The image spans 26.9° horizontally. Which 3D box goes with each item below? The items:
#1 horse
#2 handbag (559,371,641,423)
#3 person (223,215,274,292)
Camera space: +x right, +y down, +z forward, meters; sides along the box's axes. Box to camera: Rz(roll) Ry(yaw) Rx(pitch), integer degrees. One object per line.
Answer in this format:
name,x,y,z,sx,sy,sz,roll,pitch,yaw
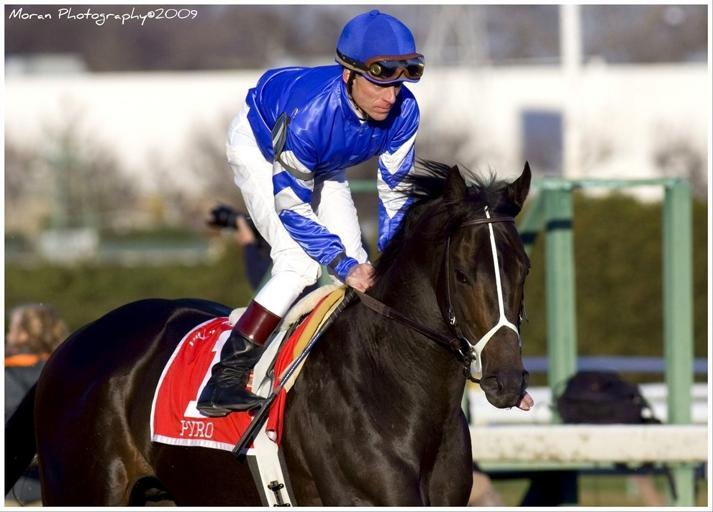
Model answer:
horse,-0.577,0.782,13.105,4.435,2.969,0.853,-4,5,6
handbag,2.471,1.464,14.786,0.882,0.464,0.960,4,14,5
person,-1.088,-0.059,15.822,0.283,1.161,0.454,-10,-28,-10
